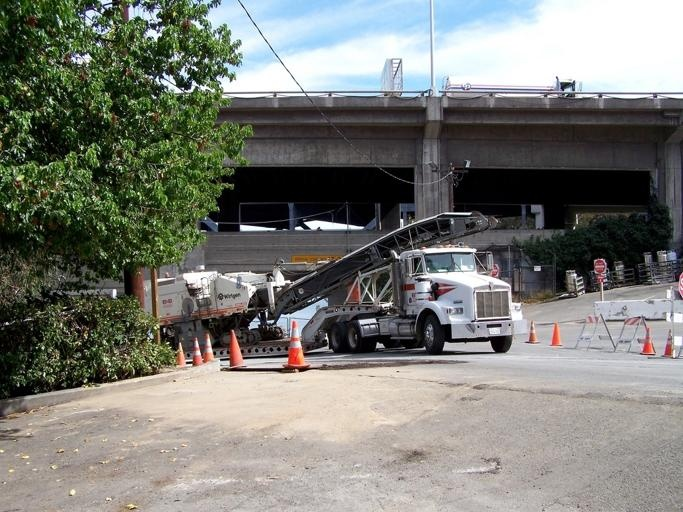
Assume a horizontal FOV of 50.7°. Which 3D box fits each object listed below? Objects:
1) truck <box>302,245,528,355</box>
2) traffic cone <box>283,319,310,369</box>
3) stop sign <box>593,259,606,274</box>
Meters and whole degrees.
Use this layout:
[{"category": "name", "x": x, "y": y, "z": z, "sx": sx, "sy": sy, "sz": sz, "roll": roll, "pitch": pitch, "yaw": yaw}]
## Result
[{"category": "truck", "x": 1.918, "y": 1.547, "z": 22.067, "sx": 2.826, "sy": 2.883, "sz": 6.692, "roll": 2, "pitch": -9, "yaw": -34}, {"category": "traffic cone", "x": -1.018, "y": 1.958, "z": 16.101, "sx": 0.715, "sy": 1.028, "sz": 0.819, "roll": -3, "pitch": 0, "yaw": -4}, {"category": "stop sign", "x": 11.497, "y": 0.437, "z": 32.165, "sx": 0.510, "sy": 0.607, "sz": 0.576, "roll": -19, "pitch": -4, "yaw": 8}]
